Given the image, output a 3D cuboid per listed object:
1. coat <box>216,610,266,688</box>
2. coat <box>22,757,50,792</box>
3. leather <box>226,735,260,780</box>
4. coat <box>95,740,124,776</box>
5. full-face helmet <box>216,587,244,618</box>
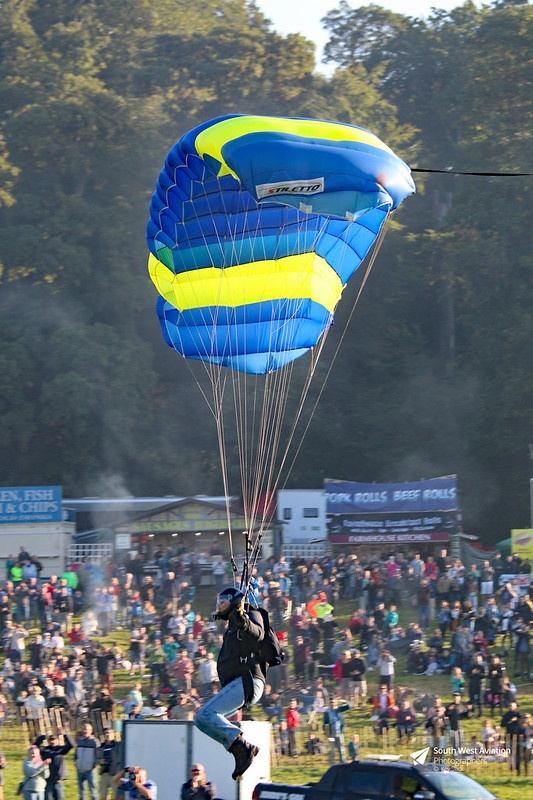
[{"bbox_3d":[-0.298,3.258,17.913,0.472,1.084,0.827,27,-50,-17],"label":"coat"},{"bbox_3d":[-3.760,6.121,22.376,0.445,0.493,0.451,-37,-40,28],"label":"coat"},{"bbox_3d":[-0.291,4.608,17.696,0.365,0.528,0.373,-4,-11,10],"label":"leather"},{"bbox_3d":[-2.612,6.016,23.015,0.581,0.584,0.187,-12,-14,43],"label":"coat"},{"bbox_3d":[-0.476,2.626,17.763,0.472,0.354,0.329,-1,-10,-5],"label":"full-face helmet"}]
